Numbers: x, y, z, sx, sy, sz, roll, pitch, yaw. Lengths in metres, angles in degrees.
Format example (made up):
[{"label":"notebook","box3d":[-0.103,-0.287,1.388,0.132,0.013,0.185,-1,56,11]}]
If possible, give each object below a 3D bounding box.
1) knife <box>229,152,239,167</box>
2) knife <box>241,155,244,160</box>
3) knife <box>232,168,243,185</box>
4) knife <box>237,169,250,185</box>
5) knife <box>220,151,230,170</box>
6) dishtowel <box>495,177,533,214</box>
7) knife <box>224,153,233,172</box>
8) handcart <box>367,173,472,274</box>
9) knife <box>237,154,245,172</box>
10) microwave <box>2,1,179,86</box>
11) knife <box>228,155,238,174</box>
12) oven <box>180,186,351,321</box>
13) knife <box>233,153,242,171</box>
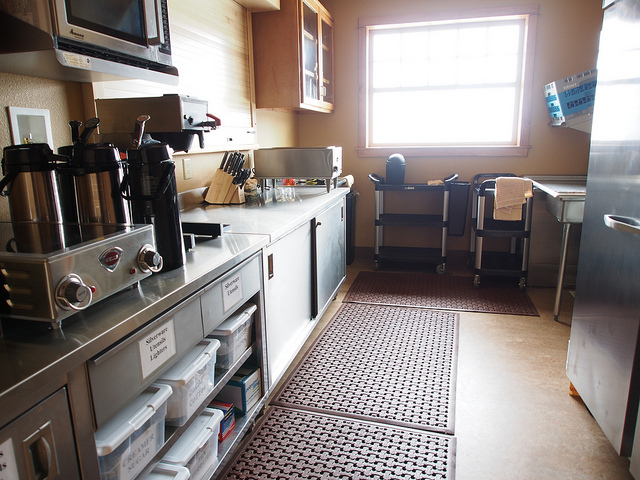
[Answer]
[{"label":"knife","box3d":[-0.561,-0.541,3.011,0.017,0.068,0.018,20,-9,38]},{"label":"knife","box3d":[-0.515,-0.559,3.061,0.005,0.021,0.020,0,-15,18]},{"label":"knife","box3d":[-0.540,-0.419,3.020,0.030,0.121,0.030,26,-1,-32]},{"label":"knife","box3d":[-0.515,-0.433,3.052,0.024,0.095,0.092,23,23,17]},{"label":"knife","box3d":[-0.623,-0.522,3.023,0.031,0.148,0.020,26,16,9]},{"label":"dishtowel","box3d":[1.536,-0.413,3.765,0.075,0.299,0.255,18,-1,-41]},{"label":"knife","box3d":[-0.592,-0.508,3.024,0.028,0.161,0.023,16,-8,16]},{"label":"handcart","box3d":[1.003,-0.178,4.549,0.856,0.950,0.305,2,10,14]},{"label":"knife","box3d":[-0.537,-0.518,3.068,0.014,0.121,0.027,26,0,5]},{"label":"microwave","box3d":[-0.844,-0.764,1.710,0.599,0.329,0.399,-7,14,-19]},{"label":"knife","box3d":[-0.559,-0.502,2.989,0.027,0.166,0.023,23,4,-3]},{"label":"oven","box3d":[-0.262,0.209,3.213,0.585,0.975,1.623,3,16,15]},{"label":"knife","box3d":[-0.535,-0.529,3.023,0.022,0.169,0.022,21,-1,-11]}]
